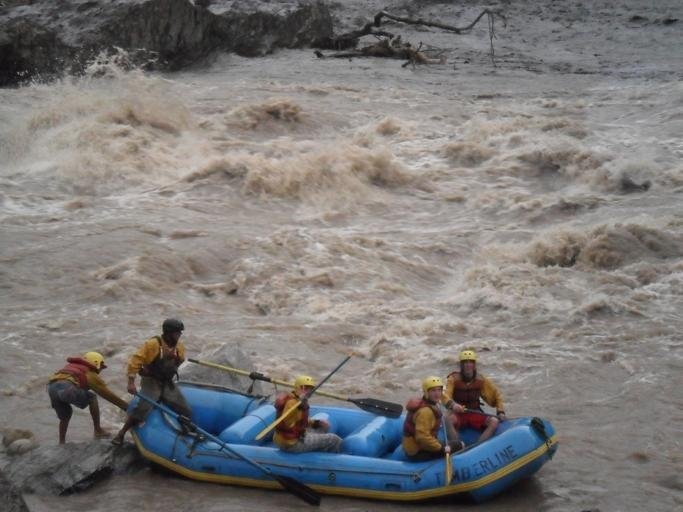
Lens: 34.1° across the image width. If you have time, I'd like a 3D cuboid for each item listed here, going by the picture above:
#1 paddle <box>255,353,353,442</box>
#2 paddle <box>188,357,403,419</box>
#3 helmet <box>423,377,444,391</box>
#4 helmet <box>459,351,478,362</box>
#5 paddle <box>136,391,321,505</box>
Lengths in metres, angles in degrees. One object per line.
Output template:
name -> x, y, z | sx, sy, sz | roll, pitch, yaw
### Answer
paddle -> -0.734, 2.910, 22.469 | 0.134, 2.475, 0.322 | 38, -20, 43
paddle -> -1.010, 2.727, 22.787 | 4.245, 0.527, 0.330 | 10, -24, 10
helmet -> 1.787, 2.423, 21.430 | 0.370, 0.285, 0.282 | -14, -9, 39
helmet -> 2.515, 1.963, 21.982 | 0.280, 0.314, 0.258 | 0, 3, 8
paddle -> -2.152, 3.772, 21.463 | 4.338, 0.323, 0.293 | 25, -18, 16
